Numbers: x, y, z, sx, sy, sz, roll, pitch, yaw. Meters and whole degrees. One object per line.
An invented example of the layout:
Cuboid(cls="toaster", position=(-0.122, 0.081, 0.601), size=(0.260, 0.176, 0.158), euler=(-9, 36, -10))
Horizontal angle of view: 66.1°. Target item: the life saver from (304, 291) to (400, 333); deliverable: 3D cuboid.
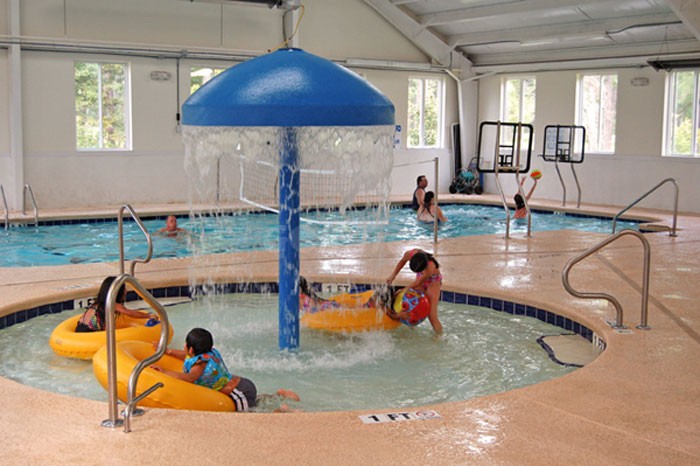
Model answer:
Cuboid(cls="life saver", position=(0.013, 0.902, 6.247), size=(1.134, 0.445, 0.328), euler=(2, 14, 4))

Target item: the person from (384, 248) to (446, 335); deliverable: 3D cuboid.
Cuboid(cls="person", position=(0.805, 0.704, 6.380), size=(0.641, 1.193, 0.518), euler=(-4, 29, 0))

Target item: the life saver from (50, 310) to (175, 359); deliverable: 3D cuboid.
Cuboid(cls="life saver", position=(-2.560, 1.069, 5.442), size=(0.803, 0.220, 0.801), euler=(6, 7, 10))

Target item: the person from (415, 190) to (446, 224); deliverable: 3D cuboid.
Cuboid(cls="person", position=(2.085, -0.450, 13.017), size=(0.772, 0.894, 0.758), euler=(3, -13, -3))

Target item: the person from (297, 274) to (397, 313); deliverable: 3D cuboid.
Cuboid(cls="person", position=(-0.042, 0.784, 6.325), size=(1.366, 0.519, 0.409), euler=(2, 3, -34))

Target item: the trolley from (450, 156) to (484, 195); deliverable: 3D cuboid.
Cuboid(cls="trolley", position=(3.837, -1.907, 17.412), size=(0.882, 1.288, 0.927), euler=(-4, 9, -19))

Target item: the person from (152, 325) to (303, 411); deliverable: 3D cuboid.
Cuboid(cls="person", position=(-1.019, 1.197, 4.590), size=(1.263, 0.675, 0.601), euler=(2, 4, -5))

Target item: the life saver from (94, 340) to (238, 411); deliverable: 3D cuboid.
Cuboid(cls="life saver", position=(-1.585, 1.194, 4.530), size=(0.799, 0.423, 1.139), euler=(-10, 18, -39))
